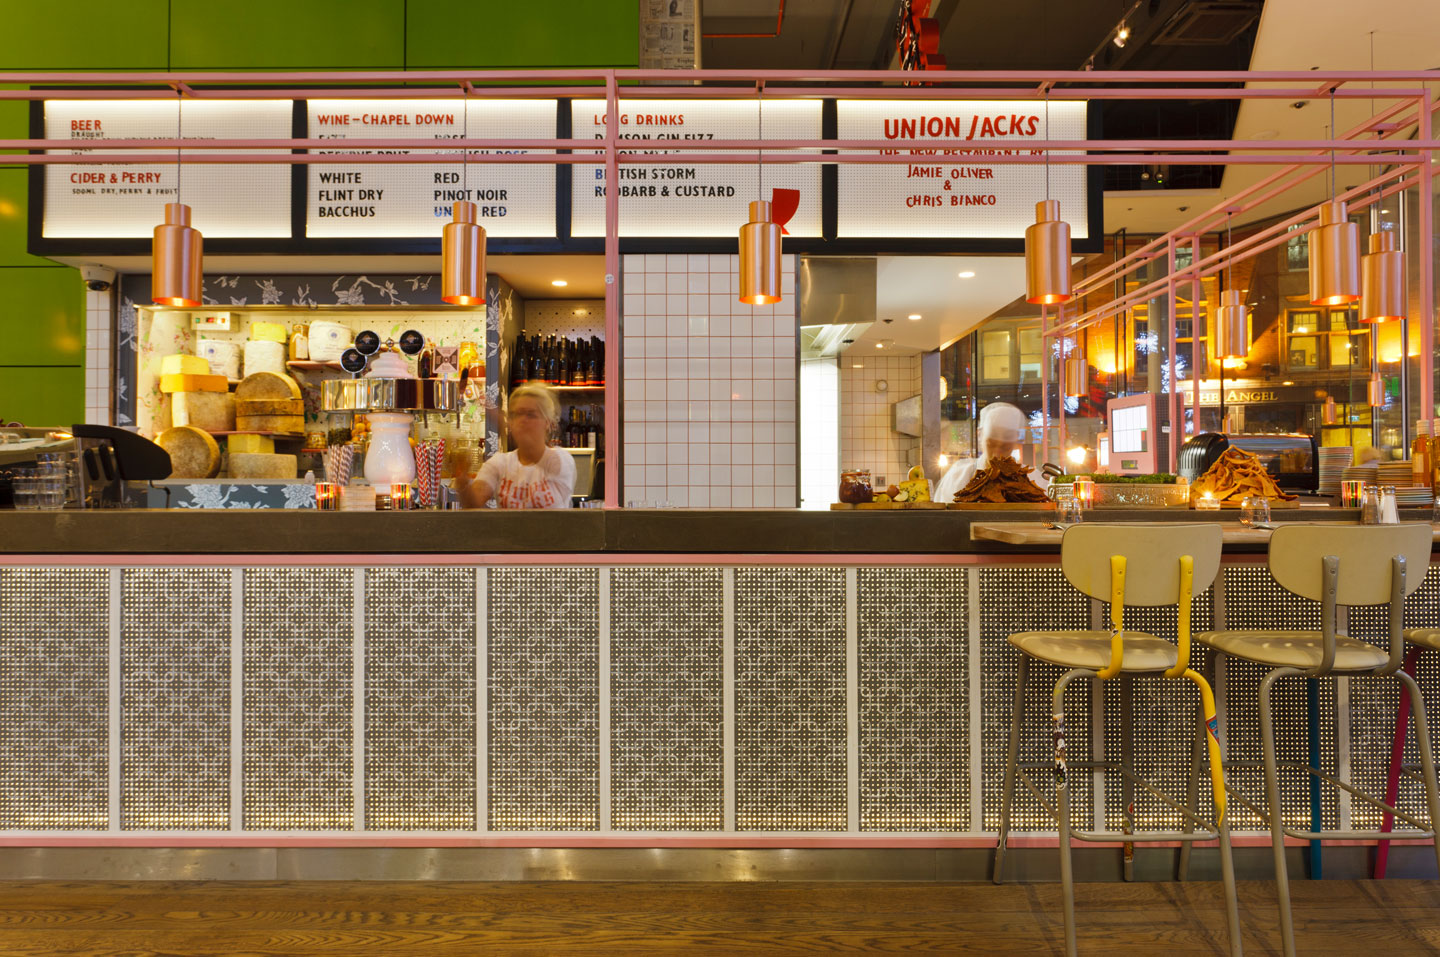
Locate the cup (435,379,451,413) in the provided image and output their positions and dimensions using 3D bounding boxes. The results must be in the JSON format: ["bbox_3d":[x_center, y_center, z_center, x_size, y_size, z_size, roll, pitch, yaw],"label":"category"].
[{"bbox_3d":[-1.714,-0.501,11.355,0.121,0.175,0.206,0,1,1],"label":"cup"}]

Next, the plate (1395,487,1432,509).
[{"bbox_3d":[3.890,0.118,10.396,0.226,0.119,0.114,1,-3,17],"label":"plate"}]

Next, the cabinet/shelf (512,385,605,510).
[{"bbox_3d":[-1.141,-0.194,13.030,0.291,0.708,0.488,27,24,38],"label":"cabinet/shelf"}]

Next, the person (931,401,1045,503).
[{"bbox_3d":[1.655,-0.155,11.313,0.640,0.600,1.685,1,1,7],"label":"person"}]

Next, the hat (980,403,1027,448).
[{"bbox_3d":[1.785,-0.361,11.759,0.259,0.276,0.266,1,-33,3],"label":"hat"}]

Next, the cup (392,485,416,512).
[{"bbox_3d":[-1.768,0.107,10.367,0.147,0.115,0.133,0,0,-2],"label":"cup"}]

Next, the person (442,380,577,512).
[{"bbox_3d":[-1.301,-0.080,11.309,0.899,0.839,0.596,3,-7,-32],"label":"person"}]

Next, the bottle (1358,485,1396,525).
[{"bbox_3d":[3.553,0.161,10.075,0.218,0.188,0.201,1,2,12],"label":"bottle"}]

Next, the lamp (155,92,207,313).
[{"bbox_3d":[-3.086,-1.418,10.521,0.245,0.891,0.194,0,1,-18],"label":"lamp"}]

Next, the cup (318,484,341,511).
[{"bbox_3d":[-2.184,0.106,10.301,0.157,0.122,0.135,1,-2,-1],"label":"cup"}]

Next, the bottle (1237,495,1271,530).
[{"bbox_3d":[2.922,0.204,10.150,0.185,0.168,0.176,1,2,23],"label":"bottle"}]

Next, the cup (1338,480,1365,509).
[{"bbox_3d":[3.541,0.100,10.379,0.186,0.151,0.105,0,-1,23],"label":"cup"}]

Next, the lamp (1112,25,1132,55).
[{"bbox_3d":[3.283,-3.599,15.158,0.084,0.207,0.293,1,1,-3],"label":"lamp"}]
